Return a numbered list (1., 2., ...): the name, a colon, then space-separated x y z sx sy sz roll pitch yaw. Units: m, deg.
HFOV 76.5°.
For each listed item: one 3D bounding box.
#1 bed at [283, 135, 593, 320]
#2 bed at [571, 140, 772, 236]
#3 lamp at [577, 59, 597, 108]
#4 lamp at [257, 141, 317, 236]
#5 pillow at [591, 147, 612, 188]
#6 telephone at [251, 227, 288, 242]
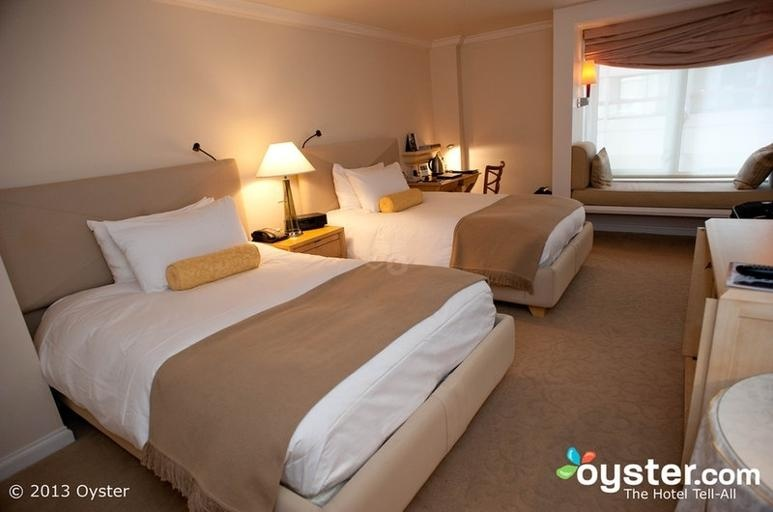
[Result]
1. bed: 0.566 -0.332 4.984 2.371 1.211 1.942 7 24 25
2. bed: 3.242 -0.842 5.890 1.816 0.972 1.050 4 25 23
3. lamp: 2.567 -2.203 6.310 0.213 0.586 0.575 2 19 22
4. lamp: -0.955 -0.591 4.762 0.476 0.762 0.429 -10 4 0
5. pillow: 2.750 -1.130 6.249 0.208 0.456 0.547 4 24 33
6. telephone: -1.104 -0.189 4.614 0.189 0.078 0.191 7 15 20
